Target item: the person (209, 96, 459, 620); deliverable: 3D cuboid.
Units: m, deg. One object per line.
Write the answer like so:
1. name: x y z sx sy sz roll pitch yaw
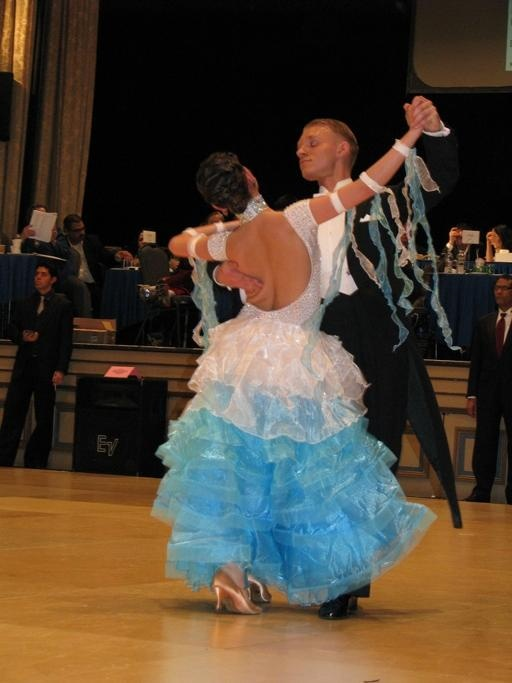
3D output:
1. person: 0.360 -0.073 2.049 0.803 1.308 0.588 -10 -5 -22

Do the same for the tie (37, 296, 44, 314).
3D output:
1. tie: -1.913 -0.329 6.009 0.034 0.125 0.114 15 -10 -23

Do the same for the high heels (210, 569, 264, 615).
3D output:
1. high heels: -0.058 0.664 1.857 0.138 0.163 0.068 1 45 11

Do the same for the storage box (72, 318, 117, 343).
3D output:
1. storage box: -1.497 -0.098 6.256 0.447 0.261 0.227 0 -7 2

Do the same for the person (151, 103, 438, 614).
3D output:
1. person: 0.103 0.082 1.837 0.742 1.344 0.341 2 0 25

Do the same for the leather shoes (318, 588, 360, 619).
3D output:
1. leather shoes: 0.230 0.743 1.933 0.057 0.061 0.165 -10 -18 38
